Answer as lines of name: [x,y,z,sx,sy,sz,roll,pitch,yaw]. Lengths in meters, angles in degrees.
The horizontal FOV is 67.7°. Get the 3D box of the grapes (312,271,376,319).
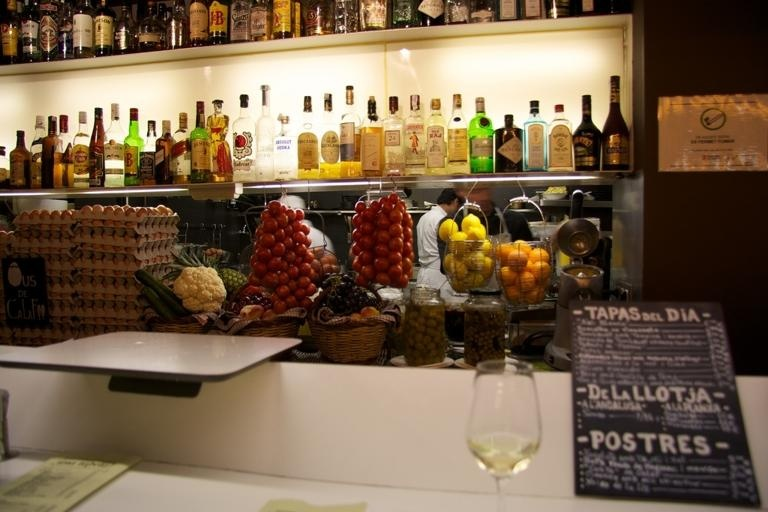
grapes: [-0.147,0.121,1.975,0.183,0.134,0.187,-4,9,-21]

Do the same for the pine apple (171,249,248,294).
pine apple: [-0.702,0.022,2.324,0.296,0.182,0.193,3,12,-12]

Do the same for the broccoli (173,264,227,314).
broccoli: [-0.661,0.106,2.039,0.160,0.167,0.132,-1,6,-14]

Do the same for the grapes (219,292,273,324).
grapes: [-0.479,0.193,1.999,0.141,0.102,0.062,-24,-32,6]

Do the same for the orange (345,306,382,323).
orange: [-0.062,0.189,1.869,0.084,0.044,0.046,-7,-2,-17]

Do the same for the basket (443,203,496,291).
basket: [0.321,-0.032,2.133,0.191,0.312,0.202,-9,12,-43]

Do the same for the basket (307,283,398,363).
basket: [-0.110,0.228,1.858,0.290,0.223,0.231,-7,-11,36]

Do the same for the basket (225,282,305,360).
basket: [-0.397,0.198,1.980,0.245,0.219,0.236,2,29,-5]

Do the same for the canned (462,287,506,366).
canned: [0.321,0.226,1.822,0.129,0.223,0.099,-1,9,5]

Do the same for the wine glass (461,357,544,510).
wine glass: [0.252,0.343,1.203,0.126,0.333,0.145,1,5,10]

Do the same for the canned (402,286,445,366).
canned: [0.126,0.225,1.813,0.138,0.241,0.139,-2,9,2]
